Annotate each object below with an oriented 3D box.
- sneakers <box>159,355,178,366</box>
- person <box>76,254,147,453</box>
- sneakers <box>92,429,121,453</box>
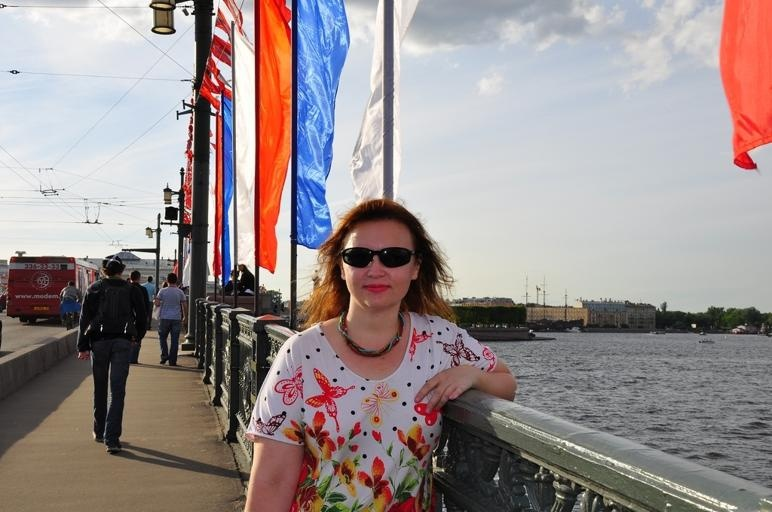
[{"bbox_3d":[-4.760,2.340,15.771,0.178,0.251,0.529,4,0,-36],"label":"sneakers"},{"bbox_3d":[-3.230,1.121,8.566,0.906,2.392,0.687,-1,-4,44],"label":"person"},{"bbox_3d":[-3.219,2.231,8.346,0.178,0.259,0.554,4,-7,-14],"label":"sneakers"}]
